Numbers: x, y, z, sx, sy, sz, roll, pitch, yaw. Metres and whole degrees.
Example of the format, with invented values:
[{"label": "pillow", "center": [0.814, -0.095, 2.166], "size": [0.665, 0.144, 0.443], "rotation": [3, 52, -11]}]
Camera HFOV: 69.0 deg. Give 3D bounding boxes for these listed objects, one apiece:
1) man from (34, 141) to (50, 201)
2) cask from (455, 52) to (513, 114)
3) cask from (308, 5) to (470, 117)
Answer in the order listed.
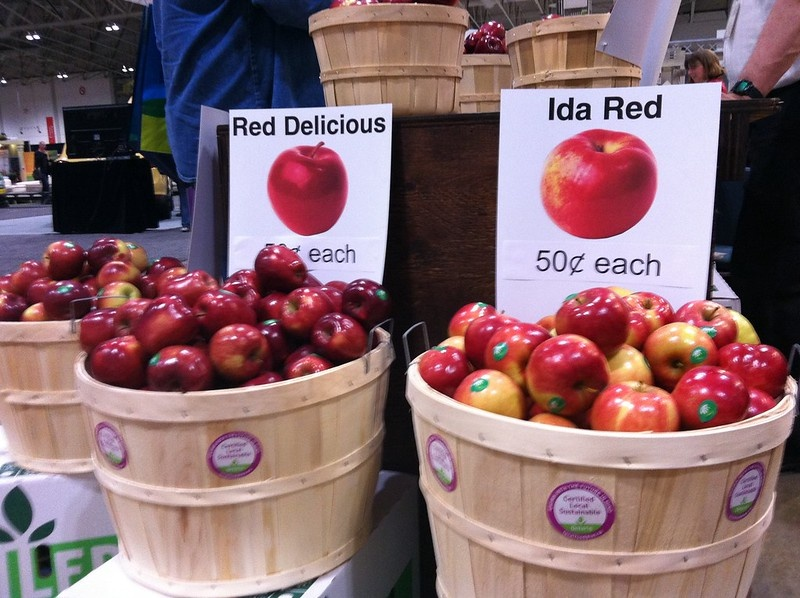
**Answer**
[{"label": "man", "center": [-8.733, -2.993, 14.227], "size": [0.287, 1.428, 1.938], "rotation": [-8, 16, -31]}, {"label": "cask", "center": [0.337, -0.883, 2.570], "size": [0.308, 0.302, 0.363], "rotation": [0, 18, -2]}, {"label": "cask", "center": [-0.033, -0.660, 1.661], "size": [0.442, 0.282, 0.190], "rotation": [-2, 13, -7]}]
